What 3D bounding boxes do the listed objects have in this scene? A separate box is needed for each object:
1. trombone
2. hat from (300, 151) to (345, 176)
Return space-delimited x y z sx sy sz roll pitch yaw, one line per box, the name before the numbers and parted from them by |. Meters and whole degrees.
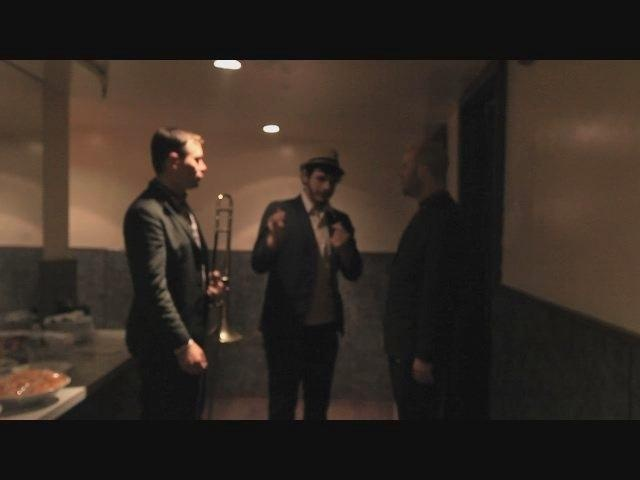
trombone | -0.402 0.248 2.273 0.147 0.839 0.199 5 11 -1
hat | 0.016 -0.305 2.265 0.126 0.067 0.106 9 -10 -26
